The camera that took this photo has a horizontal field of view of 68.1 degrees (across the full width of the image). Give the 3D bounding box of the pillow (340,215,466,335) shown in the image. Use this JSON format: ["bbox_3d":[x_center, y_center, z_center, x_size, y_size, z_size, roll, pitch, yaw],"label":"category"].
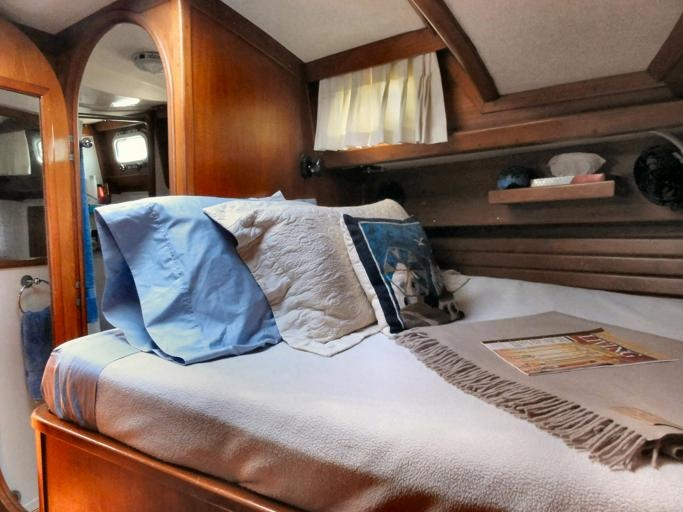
[{"bbox_3d":[0.139,0.108,2.012,0.522,0.434,0.151,-4,-30,-47],"label":"pillow"}]
